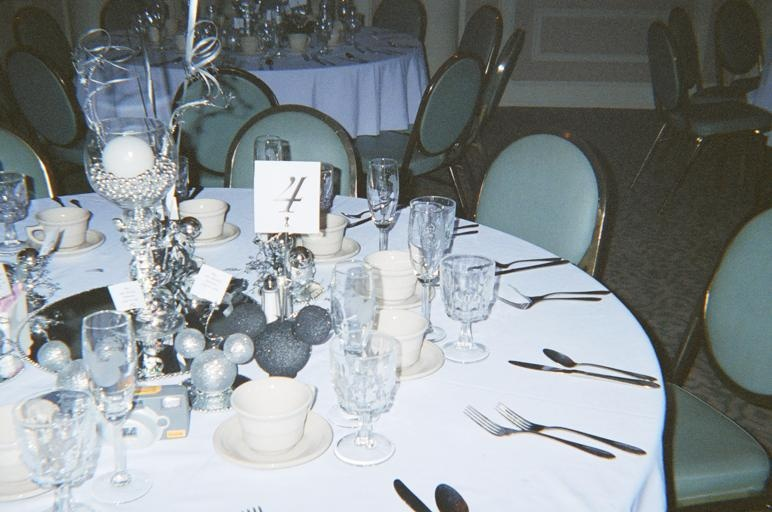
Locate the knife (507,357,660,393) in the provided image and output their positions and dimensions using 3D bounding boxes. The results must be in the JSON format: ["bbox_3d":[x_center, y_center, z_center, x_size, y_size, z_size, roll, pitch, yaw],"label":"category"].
[{"bbox_3d":[0.435,0.263,1.240,0.206,0.012,0.025,10,35,18],"label":"knife"}]

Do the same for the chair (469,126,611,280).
[{"bbox_3d":[0.616,-0.237,2.301,0.410,0.732,0.486,24,13,34],"label":"chair"}]
